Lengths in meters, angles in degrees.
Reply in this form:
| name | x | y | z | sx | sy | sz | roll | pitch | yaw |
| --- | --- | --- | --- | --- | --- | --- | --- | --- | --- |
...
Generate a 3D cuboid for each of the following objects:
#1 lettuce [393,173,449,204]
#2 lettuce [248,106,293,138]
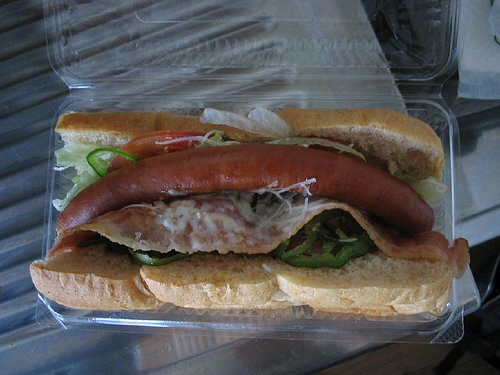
| name | x | y | z | sx | sy | sz | roll | pitch | yaw |
| --- | --- | --- | --- | --- | --- | --- | --- | --- | --- |
| lettuce | 1.288 | 0.023 | 4.213 | 0.428 | 0.131 | 0.192 | 25 | 77 | -17 |
| lettuce | 0.146 | -0.462 | 4.007 | 0.314 | 0.068 | 0.160 | 27 | 35 | -2 |
